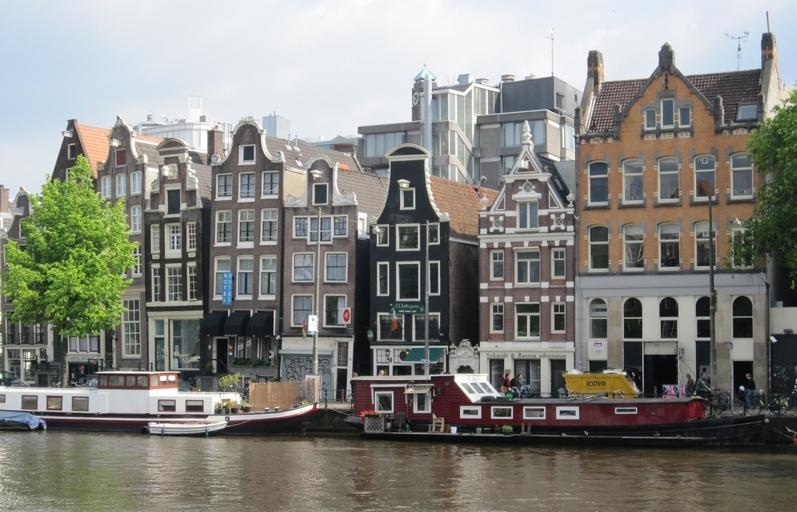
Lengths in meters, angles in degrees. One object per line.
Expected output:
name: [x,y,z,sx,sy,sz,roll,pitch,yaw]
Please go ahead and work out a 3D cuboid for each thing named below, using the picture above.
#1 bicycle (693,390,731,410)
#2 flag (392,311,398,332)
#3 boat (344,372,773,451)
bicycle: [20.719,9.508,127.061,2.029,1.243,1.271,-1,0,7]
flag: [-0.342,4.725,141.872,0.581,1.288,1.616,-1,-8,-1]
boat: [9.091,10.161,127.135,25.408,5.417,1.481,-3,-8,15]
